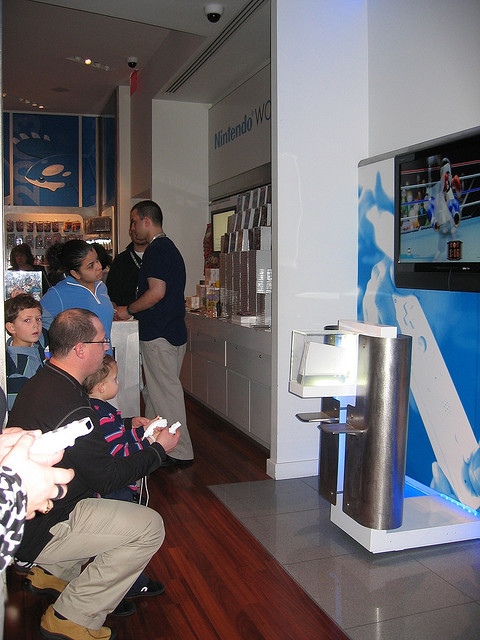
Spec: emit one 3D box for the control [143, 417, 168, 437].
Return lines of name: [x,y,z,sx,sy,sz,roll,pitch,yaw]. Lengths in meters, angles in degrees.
control: [-0.329,0.407,1.865,0.084,0.061,0.230,-1,0,-10]

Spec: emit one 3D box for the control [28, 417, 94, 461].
control: [-0.232,0.152,0.623,0.109,0.028,0.035,-22,-27,-6]

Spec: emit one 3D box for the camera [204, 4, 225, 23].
camera: [-0.220,-2.447,3.891,0.116,0.094,0.117,-3,1,-39]
